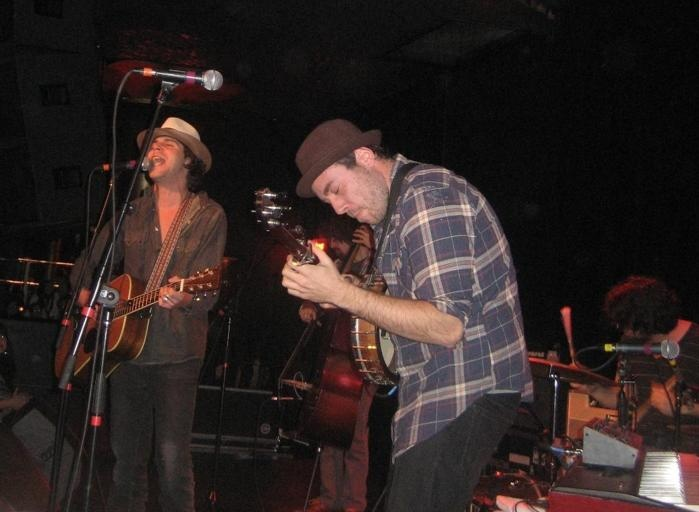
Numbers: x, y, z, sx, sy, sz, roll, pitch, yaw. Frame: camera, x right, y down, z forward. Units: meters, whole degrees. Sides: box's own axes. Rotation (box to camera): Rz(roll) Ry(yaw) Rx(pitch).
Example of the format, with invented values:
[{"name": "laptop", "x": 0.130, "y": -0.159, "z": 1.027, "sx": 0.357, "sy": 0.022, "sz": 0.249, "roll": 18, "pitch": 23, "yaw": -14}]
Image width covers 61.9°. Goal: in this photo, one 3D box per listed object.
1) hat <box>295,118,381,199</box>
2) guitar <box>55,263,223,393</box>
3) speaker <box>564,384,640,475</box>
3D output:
[{"name": "hat", "x": -0.109, "y": -0.641, "z": 3.482, "sx": 0.180, "sy": 0.479, "sz": 0.397, "roll": 49, "pitch": -8, "yaw": 1}, {"name": "guitar", "x": -1.515, "y": 0.514, "z": 4.173, "sx": 1.380, "sy": 0.598, "sz": 0.185, "roll": -27, "pitch": -31, "yaw": 24}, {"name": "speaker", "x": 1.720, "y": 1.160, "z": 3.773, "sx": 0.309, "sy": 0.355, "sz": 0.564, "roll": -3, "pitch": -8, "yaw": 30}]
